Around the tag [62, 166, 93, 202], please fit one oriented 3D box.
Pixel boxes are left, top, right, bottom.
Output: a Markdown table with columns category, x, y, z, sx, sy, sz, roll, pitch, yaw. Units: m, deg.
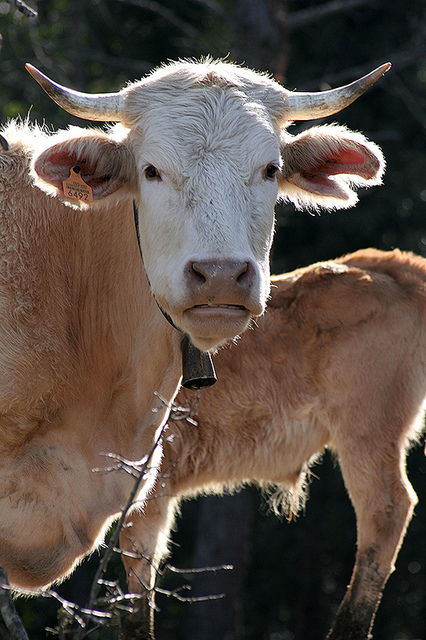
| category | x | y | z | sx | sy | sz | roll | pitch | yaw |
| --- | --- | --- | --- | --- | --- | --- | --- | --- | --- |
| tag | -0.651 | -0.651 | 4.735 | 0.162 | 0.019 | 0.170 | 19 | 52 | -35 |

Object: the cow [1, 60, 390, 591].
| category | x | y | z | sx | sy | sz | roll | pitch | yaw |
| --- | --- | --- | --- | --- | --- | --- | --- | --- | --- |
| cow | -0.422 | 0.012 | 5.050 | 1.465 | 2.612 | 2.132 | 23 | 43 | 16 |
